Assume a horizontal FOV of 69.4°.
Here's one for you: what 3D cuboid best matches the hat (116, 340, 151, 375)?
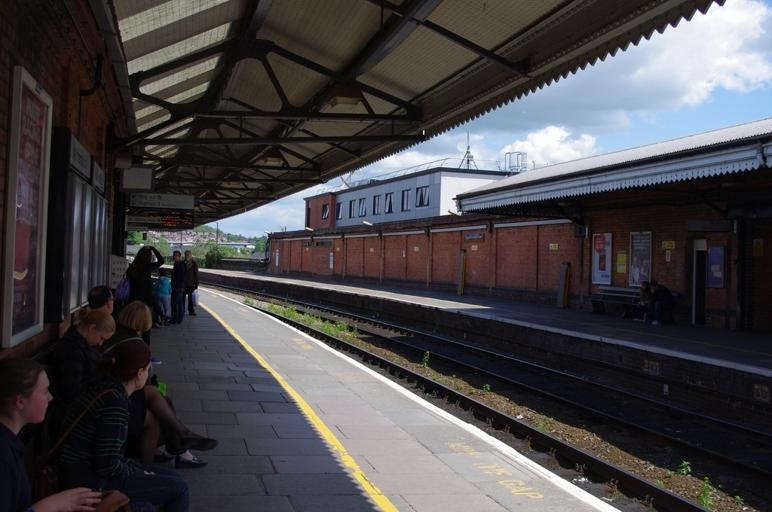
[{"bbox_3d":[-2.168,0.831,4.766,0.244,0.246,0.298,-1,12,-10],"label":"hat"}]

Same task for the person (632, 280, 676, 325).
[{"bbox_3d":[8.584,1.452,17.838,0.806,1.236,1.101,2,0,-20],"label":"person"}]
